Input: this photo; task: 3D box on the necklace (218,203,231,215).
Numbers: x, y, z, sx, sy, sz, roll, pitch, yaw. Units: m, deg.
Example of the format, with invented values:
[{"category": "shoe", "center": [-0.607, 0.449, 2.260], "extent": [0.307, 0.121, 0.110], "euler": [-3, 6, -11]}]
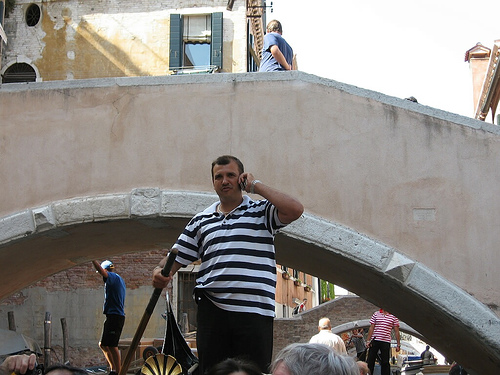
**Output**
[{"category": "necklace", "center": [-0.310, 0.231, 10.450], "extent": [0.168, 0.152, 0.037], "euler": [-16, -22, 38]}]

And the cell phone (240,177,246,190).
[{"category": "cell phone", "center": [-0.075, -0.050, 10.391], "extent": [0.033, 0.099, 0.092], "euler": [1, -2, -39]}]

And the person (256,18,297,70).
[{"category": "person", "center": [0.380, -2.047, 13.967], "extent": [0.488, 1.069, 0.869], "euler": [-1, -18, 1]}]
